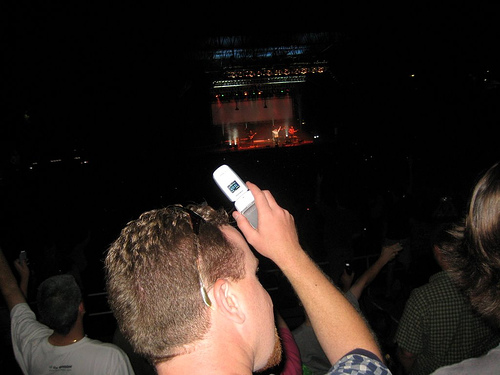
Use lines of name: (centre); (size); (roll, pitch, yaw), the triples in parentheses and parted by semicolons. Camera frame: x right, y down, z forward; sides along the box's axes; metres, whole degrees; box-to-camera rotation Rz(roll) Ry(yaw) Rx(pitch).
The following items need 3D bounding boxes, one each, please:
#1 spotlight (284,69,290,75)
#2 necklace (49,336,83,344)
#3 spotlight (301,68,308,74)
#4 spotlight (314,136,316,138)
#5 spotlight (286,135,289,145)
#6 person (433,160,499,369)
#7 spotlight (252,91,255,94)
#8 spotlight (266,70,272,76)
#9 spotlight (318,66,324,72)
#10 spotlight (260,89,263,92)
spotlight: (1.222, -3.888, 13.523); (0.184, 0.132, 0.302); (-8, 5, 5)
necklace: (-2.256, 1.847, 4.891); (0.351, 0.073, 0.044); (-9, 6, -1)
spotlight: (1.799, -3.892, 13.434); (0.217, 0.126, 0.399); (-8, 5, 8)
spotlight: (2.359, -1.847, 14.680); (0.059, 0.060, 0.181); (-8, 5, 10)
spotlight: (1.371, -1.798, 14.933); (0.122, 0.307, 0.512); (-8, 5, 7)
person: (2.414, 0.955, 4.369); (0.563, 2.367, 1.041); (-4, 7, 34)
spotlight: (0.131, -3.511, 14.876); (0.095, 0.082, 0.147); (-8, 5, 7)
spotlight: (0.623, -3.832, 13.461); (0.205, 0.145, 0.227); (-9, 5, 2)
spotlight: (2.307, -3.886, 13.189); (0.167, 0.160, 0.276); (-8, 5, 8)
spotlight: (0.380, -3.539, 14.705); (0.029, 0.032, 0.137); (-20, 43, 9)
